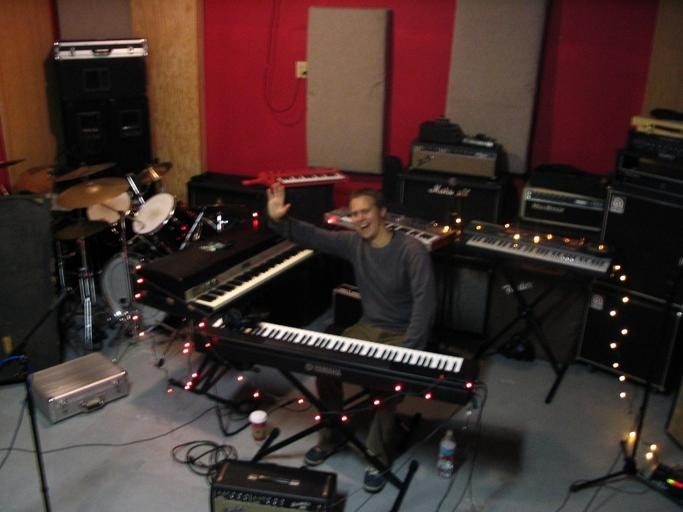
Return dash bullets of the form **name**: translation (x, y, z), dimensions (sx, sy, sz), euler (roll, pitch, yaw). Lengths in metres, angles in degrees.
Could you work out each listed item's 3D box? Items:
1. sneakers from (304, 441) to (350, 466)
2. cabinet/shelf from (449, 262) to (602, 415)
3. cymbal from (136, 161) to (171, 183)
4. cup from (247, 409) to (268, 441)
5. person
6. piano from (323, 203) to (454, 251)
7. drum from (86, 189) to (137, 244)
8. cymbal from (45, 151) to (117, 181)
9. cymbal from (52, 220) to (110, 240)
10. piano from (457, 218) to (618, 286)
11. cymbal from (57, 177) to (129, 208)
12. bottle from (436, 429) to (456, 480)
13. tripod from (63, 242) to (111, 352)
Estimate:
- **sneakers**: translation (-0.084, 1.250, 3.613), dimensions (0.277, 0.112, 0.095), euler (-5, 12, -43)
- **cabinet/shelf**: translation (1.628, 0.412, 4.706), dimensions (1.097, 1.394, 0.907), euler (15, 23, 26)
- **cymbal**: translation (-1.734, -0.778, 5.186), dimensions (0.271, 0.145, 0.413), euler (0, 21, 0)
- **cup**: translation (-0.545, 1.127, 3.672), dimensions (0.138, 0.204, 0.137), euler (-2, 20, 1)
- **person**: translation (0.157, 0.438, 3.666), dimensions (0.986, 1.832, 0.988), euler (-14, 19, -31)
- **piano**: translation (0.554, -0.221, 4.154), dimensions (0.856, 0.132, 0.316), euler (22, 35, 31)
- **drum**: translation (-1.921, -0.348, 4.808), dimensions (0.375, 0.386, 0.383), euler (3, 1, 10)
- **cymbal**: translation (-2.276, -0.728, 4.905), dimensions (0.449, 0.207, 0.677), euler (-17, 27, -37)
- **cymbal**: translation (-2.068, -0.180, 4.429), dimensions (0.316, 0.153, 0.270), euler (5, 22, 14)
- **piano**: translation (1.445, -0.078, 4.076), dimensions (1.147, 0.313, 0.343), euler (17, 64, 33)
- **cymbal**: translation (-1.909, -0.486, 4.296), dimensions (0.519, 0.166, 0.364), euler (-9, 23, -20)
- **bottle**: translation (0.673, 1.179, 3.510), dimensions (0.118, 0.331, 0.248), euler (5, 22, 15)
- **tripod**: translation (-2.217, 0.187, 4.779), dimensions (0.281, 0.975, 0.911), euler (-12, 24, -26)
